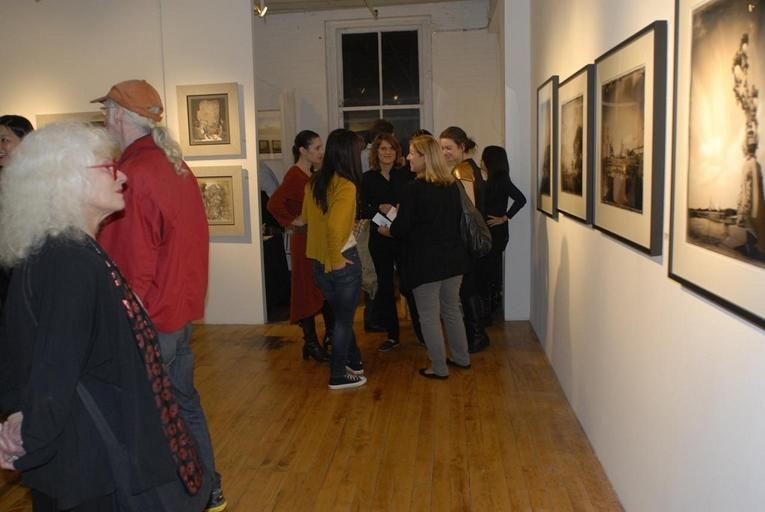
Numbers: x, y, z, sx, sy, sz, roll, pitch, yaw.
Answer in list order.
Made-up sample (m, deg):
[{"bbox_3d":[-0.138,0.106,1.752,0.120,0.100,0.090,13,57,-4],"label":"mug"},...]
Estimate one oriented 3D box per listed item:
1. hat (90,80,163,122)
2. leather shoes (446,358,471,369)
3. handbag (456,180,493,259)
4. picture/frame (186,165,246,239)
[{"bbox_3d":[-1.399,-0.874,3.161,0.303,0.189,0.242,13,15,-5],"label":"hat"},{"bbox_3d":[0.700,0.975,5.278,0.079,0.072,0.222,-2,0,-28],"label":"leather shoes"},{"bbox_3d":[0.787,-0.310,4.942,0.277,0.667,0.171,1,11,15],"label":"handbag"},{"bbox_3d":[-1.601,-0.570,5.698,0.758,1.033,0.037,-1,3,2],"label":"picture/frame"}]
